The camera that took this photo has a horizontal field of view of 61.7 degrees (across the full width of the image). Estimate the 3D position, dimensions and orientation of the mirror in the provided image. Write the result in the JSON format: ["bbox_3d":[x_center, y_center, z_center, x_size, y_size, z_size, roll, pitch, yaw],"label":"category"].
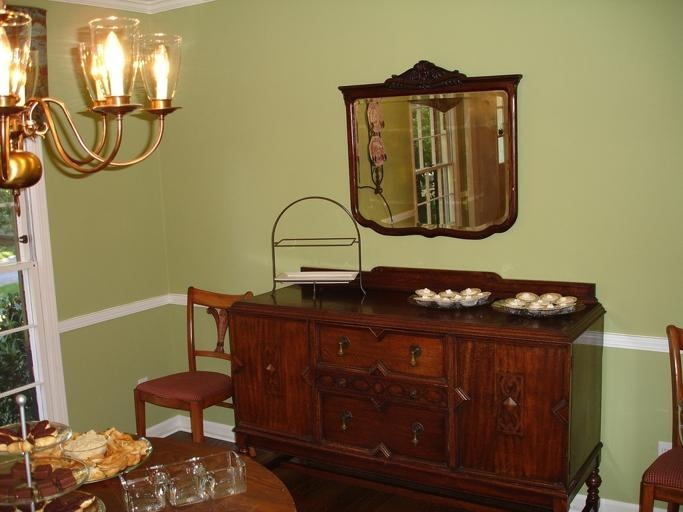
[{"bbox_3d":[0.580,-0.674,3.494,1.153,1.087,0.092,3,11,23],"label":"mirror"}]

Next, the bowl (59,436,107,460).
[{"bbox_3d":[-1.078,0.803,2.390,0.147,0.056,0.146,1,1,0],"label":"bowl"}]
